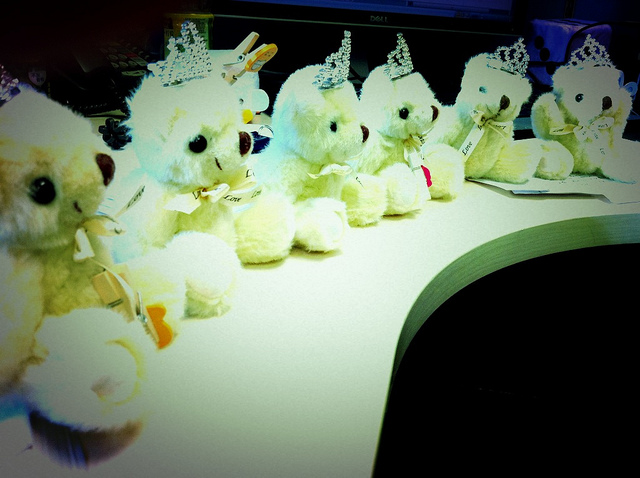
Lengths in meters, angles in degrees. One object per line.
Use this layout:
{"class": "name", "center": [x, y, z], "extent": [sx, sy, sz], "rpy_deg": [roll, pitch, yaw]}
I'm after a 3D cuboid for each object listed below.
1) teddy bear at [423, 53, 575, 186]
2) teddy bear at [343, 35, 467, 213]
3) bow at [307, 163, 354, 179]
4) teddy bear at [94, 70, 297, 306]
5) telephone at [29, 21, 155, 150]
{"class": "teddy bear", "center": [0.422, -0.290, 1.233], "extent": [0.449, 0.327, 0.273], "rpy_deg": [0, 26, -6]}
{"class": "teddy bear", "center": [0.189, -0.279, 1.145], "extent": [0.291, 0.376, 0.294], "rpy_deg": [8, 36, 15]}
{"class": "bow", "center": [0.025, -0.141, 0.959], "extent": [0.066, 0.018, 0.035], "rpy_deg": [-1, 1, -9]}
{"class": "teddy bear", "center": [-0.229, -0.110, 0.861], "extent": [0.267, 0.360, 0.310], "rpy_deg": [14, 31, 20]}
{"class": "telephone", "center": [-0.405, -0.275, 0.829], "extent": [0.197, 0.219, 0.276], "rpy_deg": [-14, 28, -30]}
